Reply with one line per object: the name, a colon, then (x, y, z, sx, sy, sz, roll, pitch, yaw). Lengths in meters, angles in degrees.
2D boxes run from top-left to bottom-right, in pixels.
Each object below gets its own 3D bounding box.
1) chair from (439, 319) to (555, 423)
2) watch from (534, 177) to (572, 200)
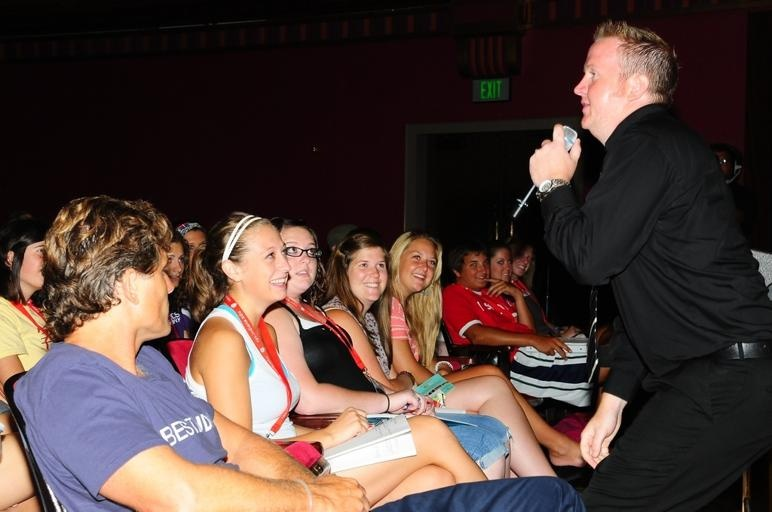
chair: (0.870, 0.917, 4.402, 0.873, 1.243, 0.910, -1, -4, 14)
watch: (0.628, -0.242, 2.127, 0.102, 0.110, 0.067, 29, 24, -57)
